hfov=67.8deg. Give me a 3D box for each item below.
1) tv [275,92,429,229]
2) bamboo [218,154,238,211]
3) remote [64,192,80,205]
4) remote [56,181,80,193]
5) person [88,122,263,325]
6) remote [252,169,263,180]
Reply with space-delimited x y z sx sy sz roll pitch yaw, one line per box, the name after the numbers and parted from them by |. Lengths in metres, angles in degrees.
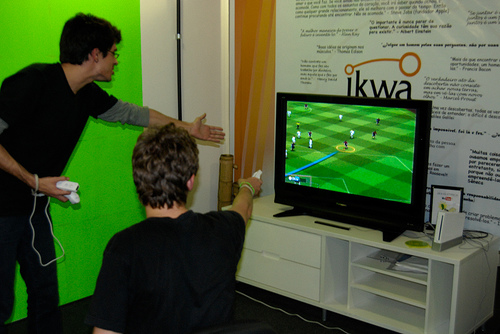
0.857 -0.060 2.976 1.114 0.792 0.084 8 15 35 | tv
-0.233 0.145 3.789 0.183 0.550 0.165 1 8 -5 | bamboo
-1.160 0.194 2.403 0.082 0.092 0.124 -3 9 -27 | remote
-1.129 0.114 2.299 0.092 0.021 0.050 9 24 -24 | remote
-0.296 0.229 1.553 0.727 0.807 0.346 -2 9 -24 | person
0.062 0.051 2.873 0.041 0.113 0.084 23 30 20 | remote
